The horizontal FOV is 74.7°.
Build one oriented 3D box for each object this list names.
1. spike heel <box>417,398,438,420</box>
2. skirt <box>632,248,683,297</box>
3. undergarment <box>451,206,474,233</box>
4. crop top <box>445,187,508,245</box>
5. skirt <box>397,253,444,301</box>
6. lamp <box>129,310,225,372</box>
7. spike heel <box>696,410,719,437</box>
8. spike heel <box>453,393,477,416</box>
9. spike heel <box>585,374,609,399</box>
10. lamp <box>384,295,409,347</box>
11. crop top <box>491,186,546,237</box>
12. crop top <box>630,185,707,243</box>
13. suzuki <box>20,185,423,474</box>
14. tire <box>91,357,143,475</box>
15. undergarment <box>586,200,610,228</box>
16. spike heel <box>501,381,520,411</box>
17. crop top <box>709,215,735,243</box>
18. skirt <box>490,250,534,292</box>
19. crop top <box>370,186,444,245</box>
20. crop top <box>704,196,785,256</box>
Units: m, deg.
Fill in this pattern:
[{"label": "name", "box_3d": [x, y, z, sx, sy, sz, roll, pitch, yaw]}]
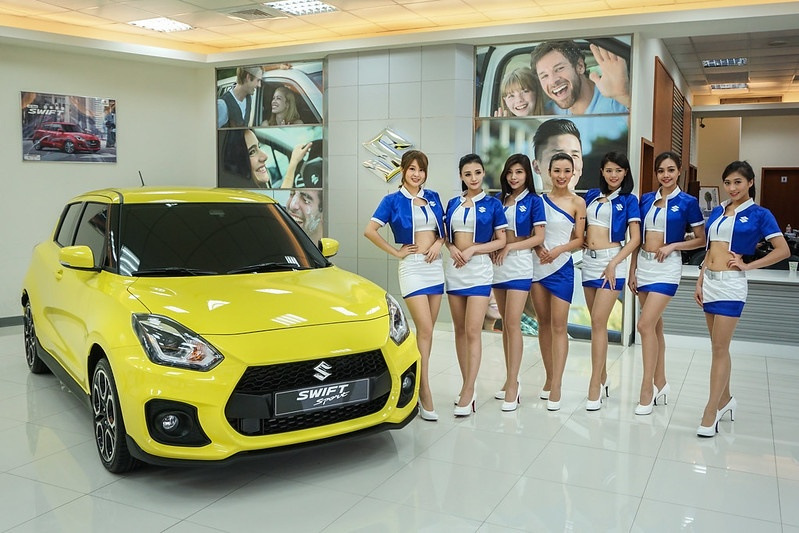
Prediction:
[{"label": "spike heel", "box_3d": [0.223, 1.168, 4.245, 0.082, 0.099, 0.233, 1, 1, -26]}, {"label": "skirt", "box_3d": [2.178, 0.051, 4.347, 0.235, 0.392, 0.399, 10, -3, -28]}, {"label": "undergarment", "box_3d": [0.509, -0.377, 4.218, 0.190, 0.198, 0.044, 1, 8, 6]}, {"label": "crop top", "box_3d": [0.649, -0.351, 4.364, 0.690, 0.506, 0.367, 1, 0, 20]}, {"label": "skirt", "box_3d": [0.167, 0.023, 4.180, 0.378, 0.352, 0.218, -9, 21, -12]}, {"label": "lamp", "box_3d": [-1.290, 0.435, 2.945, 0.595, 0.266, 0.145, 4, 9, 21]}, {"label": "spike heel", "box_3d": [2.371, 1.213, 4.005, 0.095, 0.119, 0.287, -5, -4, 38]}, {"label": "spike heel", "box_3d": [0.528, 1.161, 4.344, 0.094, 0.134, 0.281, -3, -7, 28]}, {"label": "spike heel", "box_3d": [1.873, 1.101, 4.844, 0.123, 0.182, 0.376, -9, 3, 36]}, {"label": "lamp", "box_3d": [-0.024, 0.370, 3.669, 0.126, 0.364, 0.497, -7, -2, -9]}, {"label": "crop top", "box_3d": [0.989, -0.443, 4.339, 0.401, 0.368, 0.191, 5, 2, 28]}, {"label": "crop top", "box_3d": [2.256, -0.421, 4.317, 0.485, 0.454, 0.256, 3, 9, 17]}, {"label": "suzuki", "box_3d": [-1.522, 0.243, 3.816, 1.634, 1.184, 2.694, -2, 6, -37]}, {"label": "tire", "box_3d": [-1.693, 0.887, 3.130, 0.171, 0.569, 0.571, -3, 44, -24]}, {"label": "undergarment", "box_3d": [1.687, -0.447, 4.413, 0.218, 0.210, 0.125, -4, -4, 39]}, {"label": "spike heel", "box_3d": [0.951, 1.142, 4.462, 0.096, 0.123, 0.285, -1, -2, 29]}, {"label": "crop top", "box_3d": [2.436, -0.283, 3.929, 0.115, 0.207, 0.185, 10, -8, -37]}, {"label": "skirt", "box_3d": [0.967, 0.077, 4.444, 0.225, 0.376, 0.383, 14, -17, -24]}, {"label": "crop top", "box_3d": [0.037, -0.420, 4.284, 0.786, 0.582, 0.403, -1, 2, -19]}, {"label": "crop top", "box_3d": [2.605, -0.301, 3.957, 0.466, 0.412, 0.278, 1, 9, 2]}]
